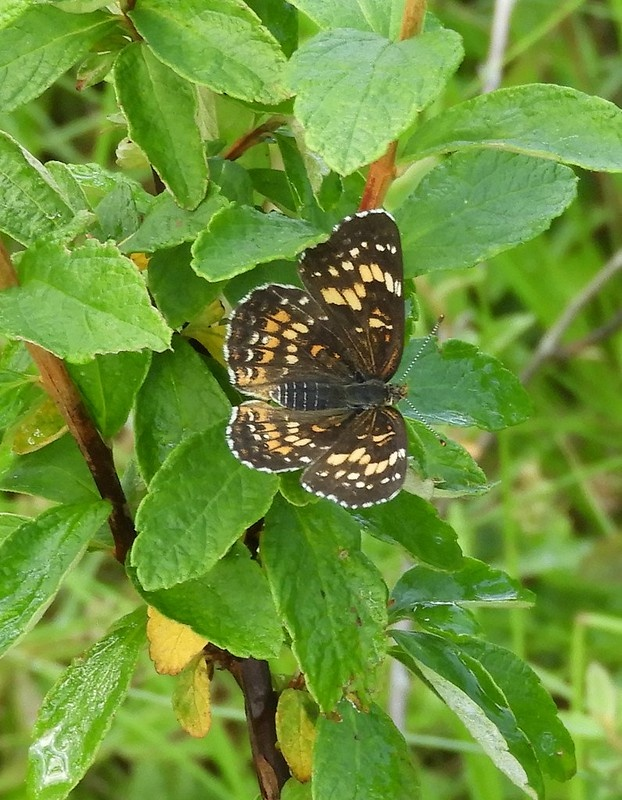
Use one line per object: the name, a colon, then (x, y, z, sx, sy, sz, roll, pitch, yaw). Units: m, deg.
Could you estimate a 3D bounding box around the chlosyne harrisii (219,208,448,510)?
chlosyne harrisii: (0.016, 0.003, 0.971, 0.236, 0.100, 0.324, -8, 106, 4)
